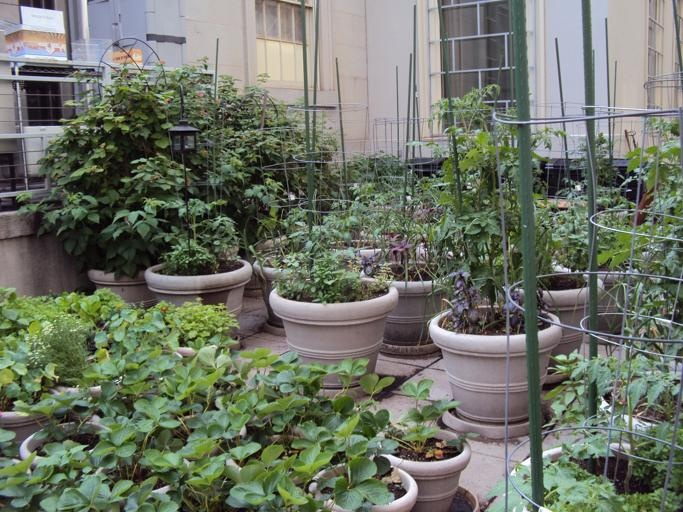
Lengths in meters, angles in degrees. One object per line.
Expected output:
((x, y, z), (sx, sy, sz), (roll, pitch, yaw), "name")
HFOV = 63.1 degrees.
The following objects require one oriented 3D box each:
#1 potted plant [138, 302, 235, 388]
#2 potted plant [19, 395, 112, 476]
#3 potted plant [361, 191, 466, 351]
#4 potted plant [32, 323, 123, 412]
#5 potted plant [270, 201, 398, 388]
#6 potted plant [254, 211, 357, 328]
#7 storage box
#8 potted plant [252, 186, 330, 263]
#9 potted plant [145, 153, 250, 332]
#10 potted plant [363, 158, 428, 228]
((-0.879, 0.508, 3.277), (0.369, 0.222, 0.396), (1, -1, 8), "potted plant")
((-1.254, 0.804, 2.563), (0.300, 0.135, 0.328), (1, 2, 11), "potted plant")
((0.611, 0.244, 4.233), (0.700, 1.178, 0.715), (7, 2, 22), "potted plant")
((-1.443, 0.581, 3.069), (0.306, 0.443, 0.435), (-9, -4, -16), "potted plant")
((0.006, 0.328, 3.726), (0.770, 1.023, 0.754), (0, -1, -44), "potted plant")
((-0.193, 0.238, 3.913), (0.823, 0.585, 0.848), (8, -6, 7), "potted plant")
((-2.724, -1.938, 4.904), (0.490, 0.450, 0.368), (-5, 6, -17), "storage box")
((-0.438, -0.195, 4.690), (0.576, 0.589, 0.567), (3, -20, -8), "potted plant")
((-0.951, 0.003, 4.470), (0.609, 0.923, 0.659), (7, 16, 0), "potted plant")
((0.474, -0.470, 4.961), (0.576, 0.570, 0.783), (-4, 17, -2), "potted plant")
